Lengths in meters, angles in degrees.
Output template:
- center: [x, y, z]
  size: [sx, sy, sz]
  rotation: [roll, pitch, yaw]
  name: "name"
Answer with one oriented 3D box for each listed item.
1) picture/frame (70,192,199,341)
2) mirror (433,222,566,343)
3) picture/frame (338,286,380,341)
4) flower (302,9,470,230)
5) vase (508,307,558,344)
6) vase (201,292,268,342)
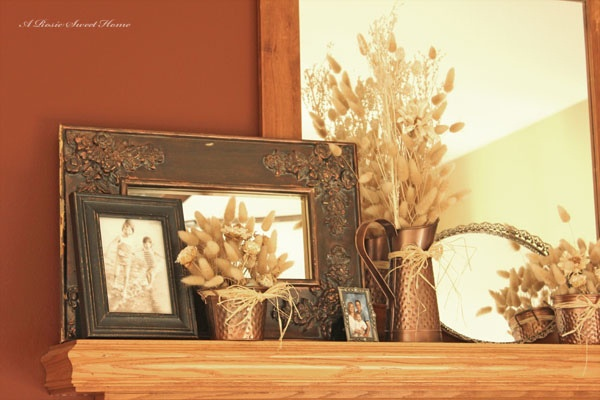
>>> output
- center: [-0.498, 0.210, 2.515]
  size: [0.466, 0.551, 0.059]
  rotation: [3, -26, -26]
  name: "picture/frame"
- center: [0.600, 0.283, 2.923]
  size: [0.437, 0.403, 0.059]
  rotation: [5, -9, -13]
  name: "mirror"
- center: [0.179, 0.357, 2.645]
  size: [0.175, 0.204, 0.024]
  rotation: [7, -34, -29]
  name: "picture/frame"
- center: [0.267, -0.261, 3.002]
  size: [0.601, 0.714, 0.570]
  rotation: [-3, -10, 0]
  name: "flower"
- center: [0.775, 0.421, 2.831]
  size: [0.122, 0.081, 0.121]
  rotation: [-13, -16, 29]
  name: "vase"
- center: [-0.188, 0.351, 2.533]
  size: [0.141, 0.091, 0.142]
  rotation: [1, -17, -6]
  name: "vase"
